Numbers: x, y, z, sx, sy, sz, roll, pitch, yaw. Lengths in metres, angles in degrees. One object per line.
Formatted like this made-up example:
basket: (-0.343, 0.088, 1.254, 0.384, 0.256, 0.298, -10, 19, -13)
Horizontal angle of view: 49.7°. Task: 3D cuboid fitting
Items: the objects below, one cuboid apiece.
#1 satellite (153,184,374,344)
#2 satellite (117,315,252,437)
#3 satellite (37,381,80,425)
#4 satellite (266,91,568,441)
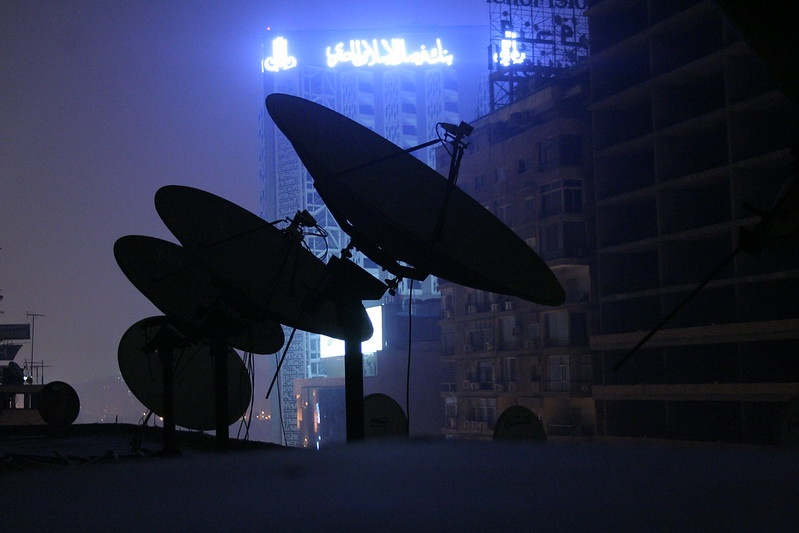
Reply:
satellite: (-3.082, -0.244, 19.008, 5.580, 2.076, 3.848, 5, 26, -41)
satellite: (-6.783, 2.476, 26.854, 3.554, 0.913, 3.918, -7, 19, -9)
satellite: (-13.679, 5.512, 34.575, 1.394, 1.643, 0.763, -2, -7, 4)
satellite: (0.325, -1.166, 17.959, 5.850, 4.108, 7.083, -1, -2, -10)
